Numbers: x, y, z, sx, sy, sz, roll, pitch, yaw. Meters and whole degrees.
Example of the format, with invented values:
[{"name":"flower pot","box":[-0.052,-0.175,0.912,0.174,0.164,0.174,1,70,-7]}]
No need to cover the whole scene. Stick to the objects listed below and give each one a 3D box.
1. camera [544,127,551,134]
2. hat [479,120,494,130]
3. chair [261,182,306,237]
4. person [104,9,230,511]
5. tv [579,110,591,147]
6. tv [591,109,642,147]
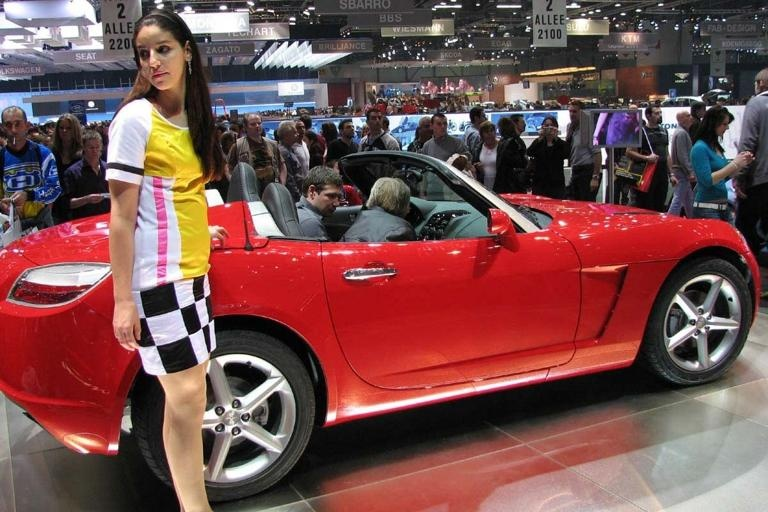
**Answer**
[{"name":"camera","box":[2.848,-2.179,8.141,0.117,0.103,0.073,4,15,23]},{"name":"hat","box":[1.717,-2.190,7.844,0.207,0.147,0.281,-1,14,5]},{"name":"chair","box":[-0.659,-0.350,3.052,0.159,0.148,0.508,-13,54,-19]},{"name":"person","box":[-0.907,0.068,2.004,0.360,2.119,0.482,1,14,12]},{"name":"tv","box":[2.710,-1.705,6.255,0.159,0.434,0.665,4,15,23]},{"name":"tv","box":[2.943,-1.632,5.941,0.489,0.368,0.053,0,2,-6]}]
